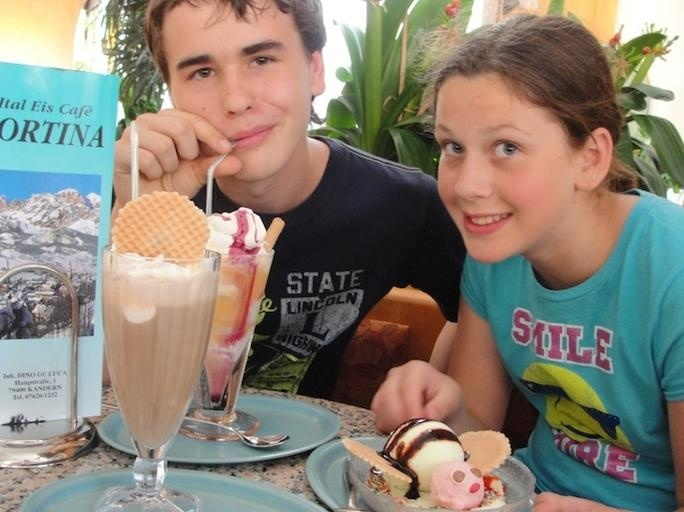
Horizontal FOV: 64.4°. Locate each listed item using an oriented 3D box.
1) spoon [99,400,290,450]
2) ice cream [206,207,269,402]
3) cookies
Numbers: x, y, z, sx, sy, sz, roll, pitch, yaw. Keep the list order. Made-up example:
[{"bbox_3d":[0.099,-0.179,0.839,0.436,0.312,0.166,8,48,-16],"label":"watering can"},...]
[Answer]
[{"bbox_3d":[-0.262,0.321,1.064,0.308,0.038,0.073,0,15,19],"label":"spoon"},{"bbox_3d":[-0.254,0.170,1.137,0.187,0.351,0.188,0,-5,17],"label":"ice cream"},{"bbox_3d":[-0.272,-0.045,0.819,0.128,0.115,0.007,1,-32,-25],"label":"cookies"}]
